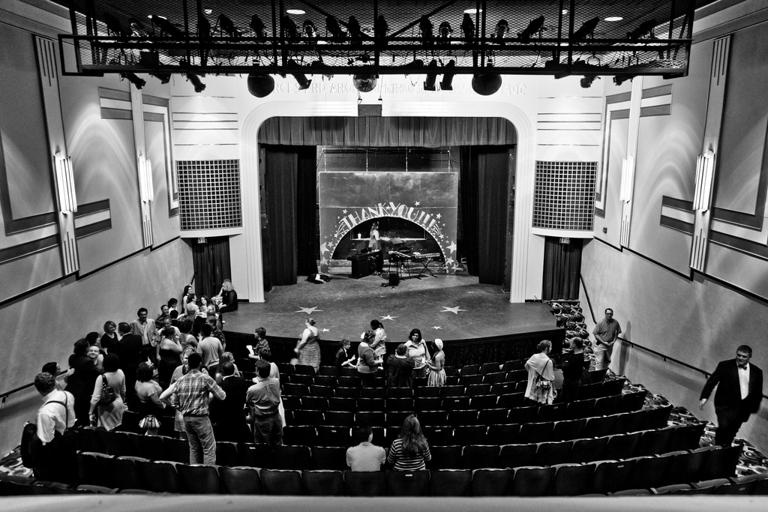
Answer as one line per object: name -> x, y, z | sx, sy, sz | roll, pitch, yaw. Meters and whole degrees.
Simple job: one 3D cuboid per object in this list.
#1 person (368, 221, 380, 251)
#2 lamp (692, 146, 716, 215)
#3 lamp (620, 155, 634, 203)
person -> -0.356, -0.755, 19.601 | 0.412, 1.138, 1.244 | 2, 1, -2
lamp -> 6.160, -1.427, 9.831 | 0.132, 1.080, 0.532 | 2, 2, 6
lamp -> 6.107, -1.914, 12.883 | 0.103, 1.084, 0.241 | -20, 22, -27
